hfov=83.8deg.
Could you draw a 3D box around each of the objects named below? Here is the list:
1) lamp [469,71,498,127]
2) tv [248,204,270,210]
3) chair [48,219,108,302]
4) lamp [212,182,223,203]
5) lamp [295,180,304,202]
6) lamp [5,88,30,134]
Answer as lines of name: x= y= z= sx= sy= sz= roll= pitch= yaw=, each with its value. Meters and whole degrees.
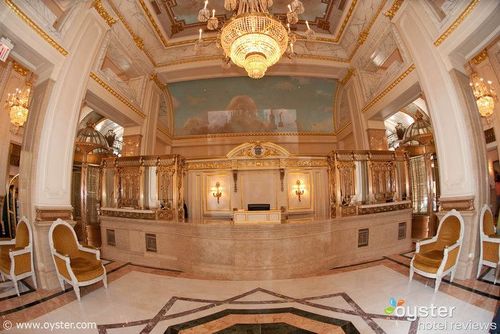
lamp: x=7.892 y=-2.416 z=9.397 sx=0.754 sy=1.916 sz=2.555 roll=5 pitch=10 yaw=37
tv: x=0.394 y=1.789 z=12.386 sx=0.939 sy=0.260 sz=0.322 roll=-1 pitch=-11 yaw=3
chair: x=-4.963 y=2.508 z=7.976 sx=1.652 sy=1.872 sz=0.875 roll=5 pitch=10 yaw=37
lamp: x=-1.483 y=1.167 z=12.640 sx=0.496 sy=0.935 sz=0.209 roll=-2 pitch=8 yaw=-2
lamp: x=2.266 y=1.077 z=12.733 sx=0.473 sy=0.956 sz=0.190 roll=-5 pitch=9 yaw=-28
lamp: x=-8.624 y=-2.211 z=10.404 sx=0.739 sy=1.731 sz=1.958 roll=-7 pitch=10 yaw=-37
